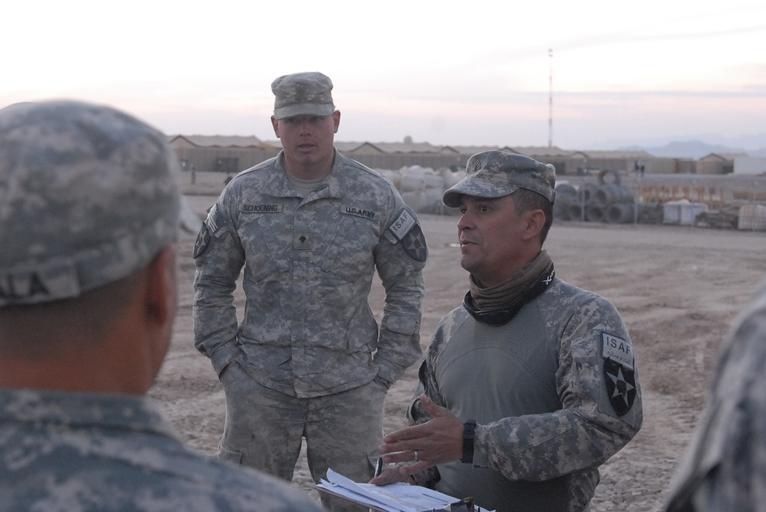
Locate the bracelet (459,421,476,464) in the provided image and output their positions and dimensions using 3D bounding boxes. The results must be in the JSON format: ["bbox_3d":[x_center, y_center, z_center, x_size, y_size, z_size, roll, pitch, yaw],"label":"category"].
[{"bbox_3d":[0.263,0.574,2.766,0.072,0.111,0.101,2,7,11],"label":"bracelet"}]

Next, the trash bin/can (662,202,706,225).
[{"bbox_3d":[7.224,-0.989,21.659,0.427,0.551,1.093,-7,11,-29],"label":"trash bin/can"}]

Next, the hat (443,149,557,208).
[{"bbox_3d":[0.437,-0.288,3.317,0.449,0.171,0.332,0,1,-32],"label":"hat"}]

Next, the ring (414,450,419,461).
[{"bbox_3d":[0.102,0.621,2.795,0.019,0.021,0.027,0,1,2],"label":"ring"}]
